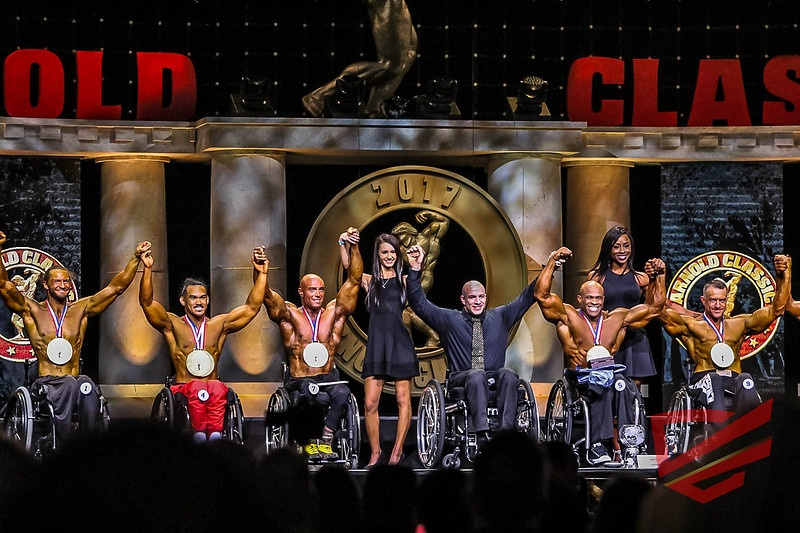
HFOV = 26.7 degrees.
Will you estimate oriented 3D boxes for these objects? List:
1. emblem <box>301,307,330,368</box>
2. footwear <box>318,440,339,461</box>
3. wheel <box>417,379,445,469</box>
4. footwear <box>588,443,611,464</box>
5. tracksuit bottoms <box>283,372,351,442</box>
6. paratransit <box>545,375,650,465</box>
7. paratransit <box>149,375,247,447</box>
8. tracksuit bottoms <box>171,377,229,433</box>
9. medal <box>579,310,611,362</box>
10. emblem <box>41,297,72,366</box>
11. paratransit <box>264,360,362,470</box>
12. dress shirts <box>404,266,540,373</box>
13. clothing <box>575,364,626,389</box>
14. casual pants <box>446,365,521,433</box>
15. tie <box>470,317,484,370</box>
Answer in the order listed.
[{"bbox_3d":[-1.046,0.859,20.715,0.320,0.734,0.048,-6,-7,24],"label":"emblem"},{"bbox_3d":[-0.867,2.212,20.265,0.257,0.236,0.181,1,-8,-4],"label":"footwear"},{"bbox_3d":[0.375,1.921,20.111,0.173,1.079,1.156,3,1,-10],"label":"wheel"},{"bbox_3d":[2.375,2.231,20.052,0.286,0.263,0.190,0,-8,5],"label":"footwear"},{"bbox_3d":[-0.940,1.722,20.493,0.594,0.914,0.892,3,-21,-14],"label":"tracksuit bottoms"},{"bbox_3d":[2.373,1.837,20.246,0.986,1.509,1.345,4,-10,-15],"label":"paratransit"},{"bbox_3d":[-2.364,1.528,20.509,1.053,1.084,0.734,-2,11,-17],"label":"paratransit"},{"bbox_3d":[-2.369,1.667,20.460,0.617,0.650,0.824,6,23,-12],"label":"tracksuit bottoms"},{"bbox_3d":[2.372,0.835,20.646,0.374,0.695,0.721,0,-8,5],"label":"medal"},{"bbox_3d":[-4.183,0.776,20.698,0.331,0.811,0.031,-3,-1,5],"label":"emblem"},{"bbox_3d":[-0.930,1.900,20.223,1.010,1.203,1.428,3,-11,-16],"label":"paratransit"},{"bbox_3d":[0.965,0.710,21.733,1.620,1.013,0.404,2,-18,-9],"label":"dress shirts"},{"bbox_3d":[2.406,1.307,20.233,0.568,0.283,0.178,0,-8,4],"label":"clothing"},{"bbox_3d":[1.063,1.593,20.192,0.672,0.844,0.804,3,-25,-9],"label":"casual pants"},{"bbox_3d":[0.964,0.927,20.664,0.136,0.645,0.154,7,-10,-35],"label":"tie"}]
